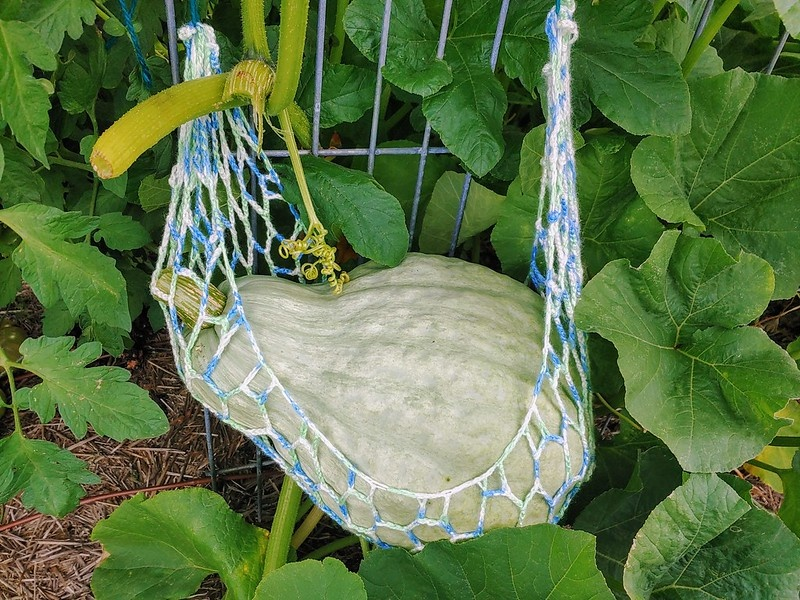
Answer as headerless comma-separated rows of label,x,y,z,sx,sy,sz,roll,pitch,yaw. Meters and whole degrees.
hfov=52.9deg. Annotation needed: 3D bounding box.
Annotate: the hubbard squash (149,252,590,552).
hubbard squash,-0.052,0.191,1.829,0.980,0.447,0.656,3,64,13
